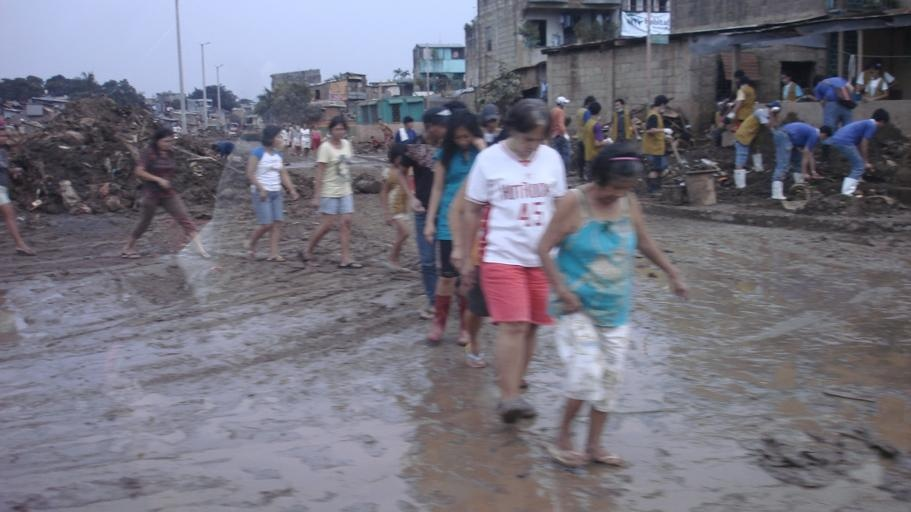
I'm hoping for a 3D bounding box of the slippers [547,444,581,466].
[{"bbox_3d":[1.023,1.848,6.709,0.287,0.126,0.080,11,28,16],"label":"slippers"}]

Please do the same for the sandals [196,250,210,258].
[{"bbox_3d":[-4.088,-0.027,11.600,0.122,0.129,0.575,-11,6,-17],"label":"sandals"}]

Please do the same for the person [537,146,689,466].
[{"bbox_3d":[1.292,0.465,6.679,0.930,2.938,1.086,4,18,30],"label":"person"}]

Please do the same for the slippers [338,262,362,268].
[{"bbox_3d":[-1.627,0.141,11.066,0.338,0.060,0.117,-1,9,7],"label":"slippers"}]

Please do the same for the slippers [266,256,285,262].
[{"bbox_3d":[-2.871,0.039,11.391,0.239,0.045,0.116,0,8,21],"label":"slippers"}]

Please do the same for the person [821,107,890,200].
[{"bbox_3d":[7.555,-1.841,13.575,0.893,1.394,0.536,-15,18,-35],"label":"person"}]

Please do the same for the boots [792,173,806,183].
[{"bbox_3d":[6.790,-1.527,14.216,0.235,0.158,0.210,0,5,38],"label":"boots"}]

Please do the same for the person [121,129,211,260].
[{"bbox_3d":[-4.932,-1.037,11.706,1.238,2.048,1.442,-10,15,-20],"label":"person"}]
